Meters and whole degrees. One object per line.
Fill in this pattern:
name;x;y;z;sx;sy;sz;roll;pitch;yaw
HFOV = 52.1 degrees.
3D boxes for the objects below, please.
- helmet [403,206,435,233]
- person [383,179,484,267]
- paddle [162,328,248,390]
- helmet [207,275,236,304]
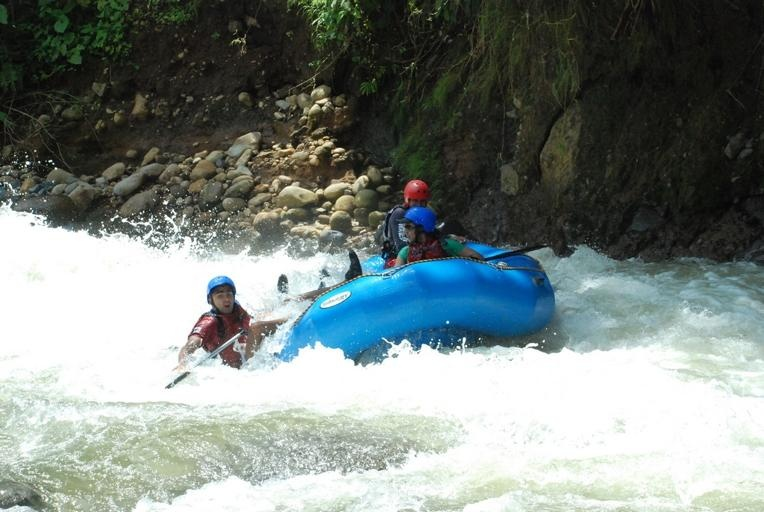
helmet;0.480;-0.462;9.849;0.358;0.231;0.279;20;17;-11
person;0.601;-0.345;10.093;1.274;0.686;0.900;10;25;5
paddle;-2.047;1.223;9.184;0.988;0.132;0.057;-38;21;-22
helmet;-2.002;0.360;9.635;0.264;0.363;0.261;3;21;-23
